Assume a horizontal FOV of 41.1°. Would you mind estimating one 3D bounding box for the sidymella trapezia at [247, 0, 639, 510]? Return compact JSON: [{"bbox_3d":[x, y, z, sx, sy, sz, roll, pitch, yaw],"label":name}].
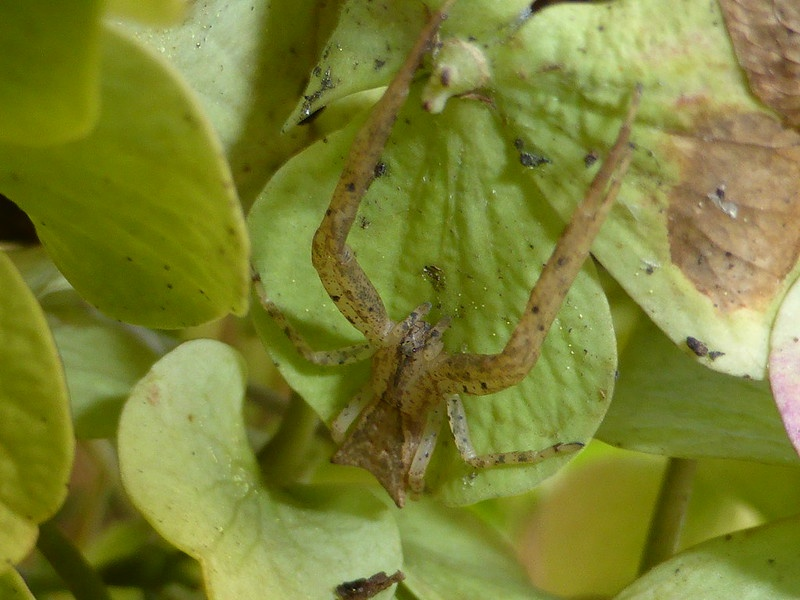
[{"bbox_3d":[0.042,-0.020,0.937,0.311,0.422,0.110,25,16,16],"label":"sidymella trapezia"}]
